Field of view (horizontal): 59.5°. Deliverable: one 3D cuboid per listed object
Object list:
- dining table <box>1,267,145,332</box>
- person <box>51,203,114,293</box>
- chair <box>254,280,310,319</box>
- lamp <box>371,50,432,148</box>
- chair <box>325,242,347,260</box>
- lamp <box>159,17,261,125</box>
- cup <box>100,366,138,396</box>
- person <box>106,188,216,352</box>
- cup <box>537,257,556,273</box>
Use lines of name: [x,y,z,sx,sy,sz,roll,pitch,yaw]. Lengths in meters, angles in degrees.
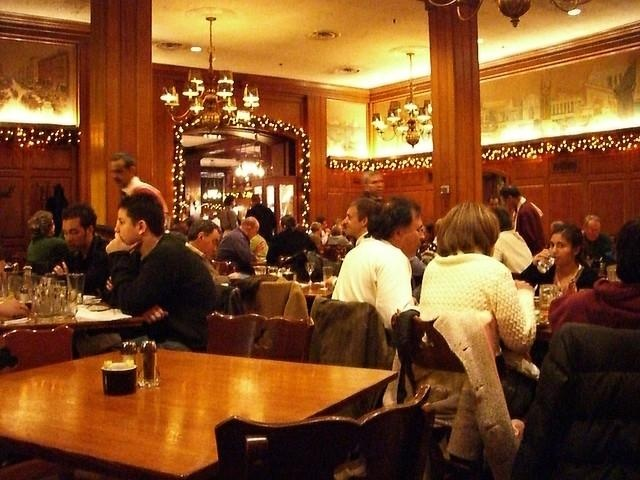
dining table: [-1.565,0.361,3.512,0.733,0.290,0.800,-3,5,-24]
person: [-1.945,0.239,4.672,0.499,1.061,0.538,-1,-2,-32]
chair: [-0.270,0.424,3.979,0.231,0.290,0.421,-6,9,-39]
lamp: [2.067,-3.589,13.892,1.901,2.766,1.726,0,-4,2]
chair: [0.199,0.144,7.272,0.205,0.167,0.220,0,-1,25]
lamp: [-2.114,-3.377,11.016,1.724,2.431,1.927,6,9,38]
cup: [-0.719,0.514,2.027,0.092,0.078,0.099,0,0,0]
person: [-1.068,0.475,3.694,0.732,1.514,0.583,1,1,-9]
cup: [1.570,0.173,3.891,0.110,0.124,0.094,12,-2,34]
